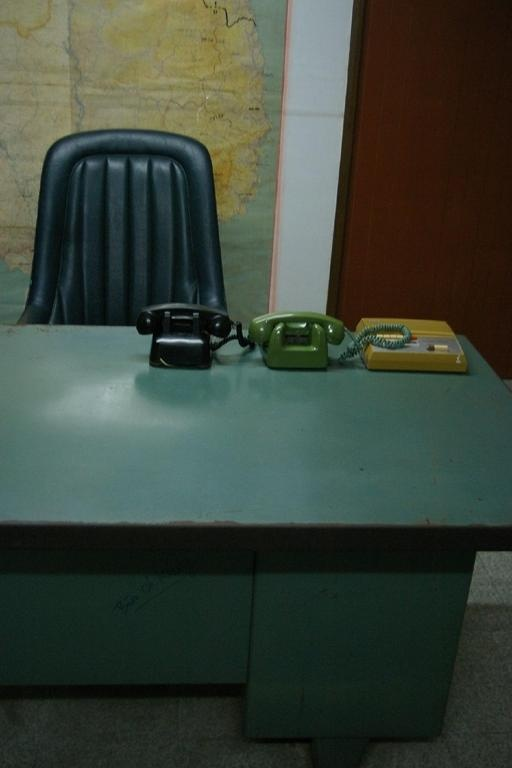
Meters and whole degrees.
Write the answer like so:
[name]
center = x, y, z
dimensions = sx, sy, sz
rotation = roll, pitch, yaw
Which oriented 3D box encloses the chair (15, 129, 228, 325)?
[chair]
center = -0.346, -0.480, 2.076
dimensions = 0.476, 0.731, 0.614
rotation = 2, 11, 1
